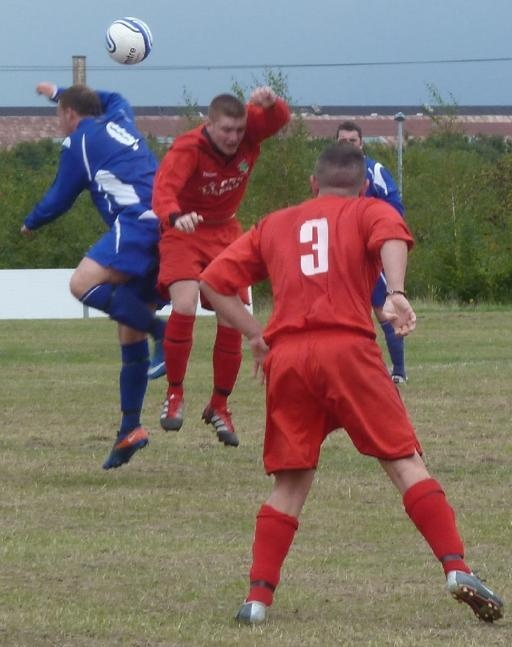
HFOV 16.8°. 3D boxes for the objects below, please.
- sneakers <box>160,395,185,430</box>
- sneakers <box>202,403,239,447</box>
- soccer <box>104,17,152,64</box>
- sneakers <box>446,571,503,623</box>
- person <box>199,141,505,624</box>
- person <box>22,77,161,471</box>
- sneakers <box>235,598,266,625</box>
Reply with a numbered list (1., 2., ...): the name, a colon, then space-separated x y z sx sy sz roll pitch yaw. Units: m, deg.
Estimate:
1. sneakers: -0.454 0.480 9.412 0.075 0.125 0.242 6 48 -5
2. sneakers: -0.212 0.593 9.858 0.069 0.224 0.114 -26 -16 -27
3. soccer: -0.729 -1.618 9.892 0.247 0.258 0.166 1 3 -7
4. sneakers: 0.853 1.076 6.780 0.221 0.214 0.171 2 3 7
5. person: 0.282 0.218 7.057 1.032 1.928 0.745 1 3 -3
6. person: -0.814 -0.256 9.433 0.801 2.077 0.756 2 3 18
7. sneakers: 0.001 1.152 6.891 0.163 0.087 0.098 -1 4 -39
